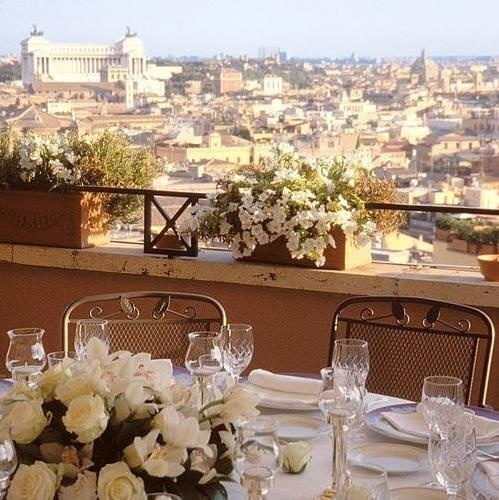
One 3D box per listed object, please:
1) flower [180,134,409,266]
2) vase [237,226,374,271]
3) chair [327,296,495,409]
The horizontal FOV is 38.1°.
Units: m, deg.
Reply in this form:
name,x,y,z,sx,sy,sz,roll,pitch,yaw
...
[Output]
name,x,y,z,sx,sy,sz,roll,pitch,yaw
flower,0.158,-0.173,2.865,0.828,0.471,0.368,4,10,19
vase,0.258,-0.013,2.845,0.390,0.173,0.201,3,11,24
chair,0.471,0.283,1.981,0.260,0.359,0.269,-9,15,-32
